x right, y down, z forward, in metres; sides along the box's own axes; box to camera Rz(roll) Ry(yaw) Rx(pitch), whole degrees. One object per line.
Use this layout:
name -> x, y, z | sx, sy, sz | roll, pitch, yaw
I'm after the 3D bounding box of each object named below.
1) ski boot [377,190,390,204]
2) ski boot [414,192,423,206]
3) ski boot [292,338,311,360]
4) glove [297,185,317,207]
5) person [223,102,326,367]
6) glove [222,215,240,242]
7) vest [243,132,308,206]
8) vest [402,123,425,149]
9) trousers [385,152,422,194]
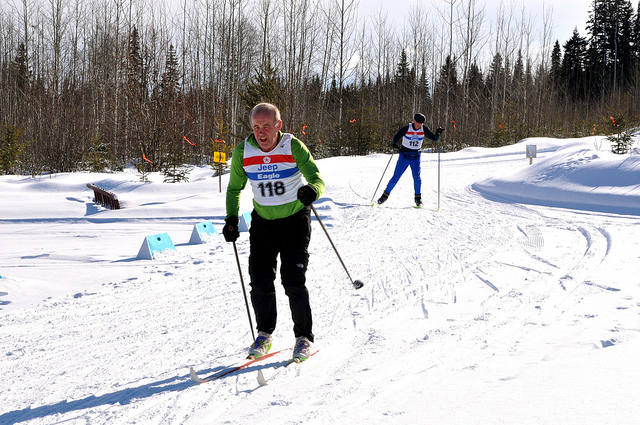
ski boot -> 1.767, -0.448, 16.240 | 0.384, 0.415, 0.453 | -3, 8, -14
ski boot -> 2.760, -0.388, 15.982 | 0.186, 0.345, 0.366 | -1, 8, 5
ski boot -> -0.259, 2.033, 8.532 | 0.258, 0.269, 0.270 | 1, 18, 12
glove -> -0.194, -0.249, 8.384 | 0.288, 0.330, 0.254 | -2, 8, -2
person -> -0.667, 0.300, 8.536 | 1.414, 3.833, 0.621 | 0, 7, 8
glove -> -1.334, 0.243, 8.512 | 0.254, 0.366, 0.144 | 8, -16, -34
vest -> -0.715, -0.634, 8.506 | 0.888, 1.054, 0.386 | -2, 7, -5
vest -> 2.575, -2.211, 15.393 | 0.646, 0.924, 0.506 | 2, 40, 6
trousers -> 2.325, -1.093, 15.818 | 0.898, 1.185, 0.512 | -1, 7, 4
